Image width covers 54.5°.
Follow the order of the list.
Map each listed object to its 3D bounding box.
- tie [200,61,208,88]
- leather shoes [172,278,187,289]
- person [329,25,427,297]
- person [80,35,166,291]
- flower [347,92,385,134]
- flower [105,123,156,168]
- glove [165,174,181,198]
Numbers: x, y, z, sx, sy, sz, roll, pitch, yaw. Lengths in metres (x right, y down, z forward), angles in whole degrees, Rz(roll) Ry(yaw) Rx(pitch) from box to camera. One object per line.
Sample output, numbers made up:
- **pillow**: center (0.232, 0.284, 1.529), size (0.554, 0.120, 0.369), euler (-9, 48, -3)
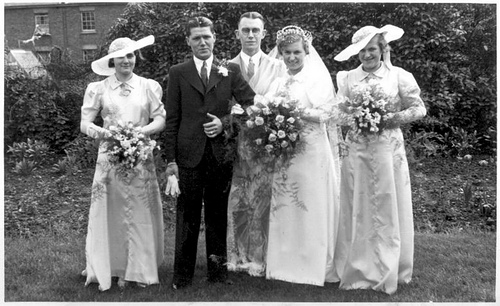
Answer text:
- **tie**: center (-0.655, -1.124, 6.993), size (0.116, 0.372, 0.081), euler (0, 7, 3)
- **leather shoes**: center (-1.032, 1.913, 7.119), size (0.181, 0.102, 0.137), euler (27, 28, 21)
- **person**: center (1.869, 0.056, 7.143), size (1.224, 3.855, 0.821), euler (1, 7, 11)
- **person**: center (-1.884, 0.121, 7.248), size (1.257, 3.723, 0.691), euler (-2, 7, -12)
- **flower**: center (1.589, -0.565, 6.987), size (0.549, 0.514, 0.549), euler (2, 8, 7)
- **flower**: center (-1.880, -0.165, 7.129), size (0.723, 0.526, 0.822), euler (12, 21, 41)
- **glove**: center (-1.125, 0.485, 7.099), size (0.274, 0.297, 0.114), euler (3, 0, 1)
